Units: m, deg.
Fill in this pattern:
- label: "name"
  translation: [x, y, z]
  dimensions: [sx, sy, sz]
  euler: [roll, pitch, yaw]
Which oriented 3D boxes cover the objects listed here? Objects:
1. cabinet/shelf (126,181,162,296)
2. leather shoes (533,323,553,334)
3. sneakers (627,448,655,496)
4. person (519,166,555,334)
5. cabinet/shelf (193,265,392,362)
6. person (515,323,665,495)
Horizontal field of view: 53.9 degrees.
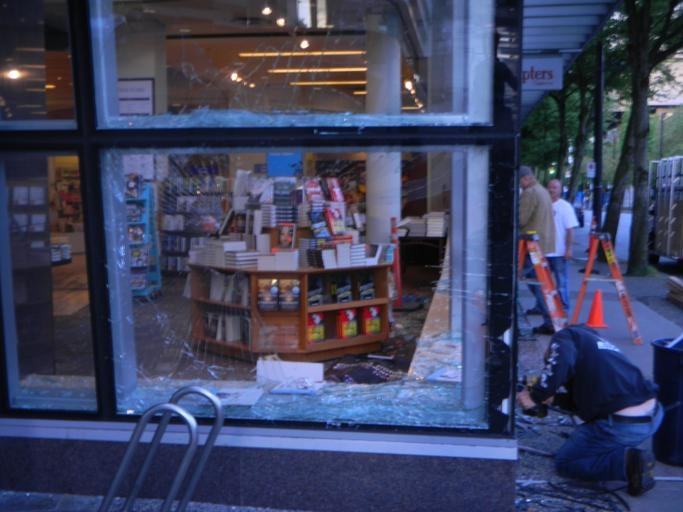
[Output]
- label: "cabinet/shelf"
  translation: [-1.513, -0.140, 5.140]
  dimensions: [0.204, 0.954, 0.459]
  euler: [-3, 9, -11]
- label: "leather shoes"
  translation: [2.607, 0.938, 8.674]
  dimensions: [0.276, 0.183, 0.092]
  euler: [3, 2, 36]
- label: "sneakers"
  translation: [2.153, 1.532, 4.819]
  dimensions: [0.177, 0.323, 0.242]
  euler: [-1, 0, 39]
- label: "person"
  translation: [2.569, -0.102, 8.810]
  dimensions: [0.463, 2.108, 1.073]
  euler: [1, 9, 15]
- label: "cabinet/shelf"
  translation: [-0.456, 0.551, 6.162]
  dimensions: [1.743, 0.716, 1.678]
  euler: [-6, -4, 4]
- label: "person"
  translation: [1.945, 1.143, 5.251]
  dimensions: [0.910, 1.216, 1.384]
  euler: [10, -10, -17]
